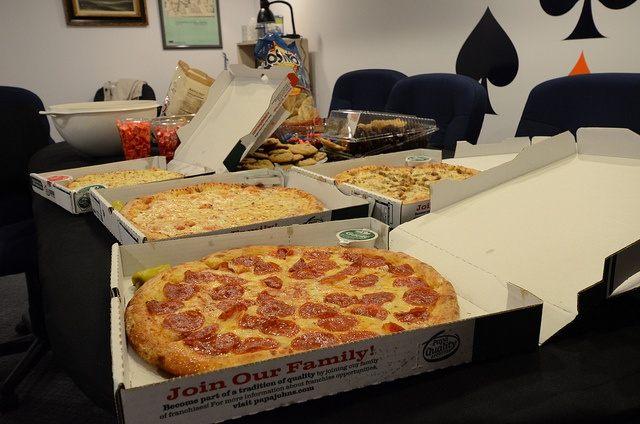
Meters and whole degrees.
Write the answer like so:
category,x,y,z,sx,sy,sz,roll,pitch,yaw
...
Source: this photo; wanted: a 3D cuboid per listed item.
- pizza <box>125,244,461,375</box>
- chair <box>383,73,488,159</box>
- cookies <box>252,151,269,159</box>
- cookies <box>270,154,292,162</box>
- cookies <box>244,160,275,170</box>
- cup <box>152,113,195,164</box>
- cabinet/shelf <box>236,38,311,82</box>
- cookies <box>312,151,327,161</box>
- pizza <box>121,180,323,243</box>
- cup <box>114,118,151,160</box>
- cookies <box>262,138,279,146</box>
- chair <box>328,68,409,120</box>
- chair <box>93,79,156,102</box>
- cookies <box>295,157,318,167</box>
category,x,y,z,sx,sy,sz,roll,pitch,yaw
pizza,-0.078,0.228,1.099,0.459,0.061,0.375,2,19,8
chair,0.725,-0.658,2.860,0.237,0.420,0.711,-12,31,-23
cookies,-0.257,-0.243,1.948,0.076,0.027,0.021,5,28,5
cookies,-0.168,-0.232,1.930,0.100,0.034,0.043,1,28,-2
cookies,-0.264,-0.198,1.915,0.141,0.029,0.085,1,28,-2
cup,-0.702,-0.355,2.187,0.199,0.184,0.198,1,28,-1
cabinet/shelf,-0.498,-1.729,5.163,0.885,0.528,0.710,-2,28,-7
cookies,-0.002,-0.256,2.036,0.048,0.011,0.046,-6,27,-10
pizza,-0.361,-0.029,1.600,0.650,0.067,0.428,-10,30,-21
cup,-0.865,-0.348,2.118,0.189,0.196,0.183,0,11,0
cookies,-0.217,-0.307,1.962,0.074,0.042,0.053,-1,28,-5
chair,0.437,-1.070,3.917,0.479,0.627,0.542,9,44,22
chair,-2.172,-1.323,4.921,0.531,0.250,0.675,2,7,-1
cookies,-0.051,-0.213,1.954,0.117,0.025,0.052,-15,32,-29
